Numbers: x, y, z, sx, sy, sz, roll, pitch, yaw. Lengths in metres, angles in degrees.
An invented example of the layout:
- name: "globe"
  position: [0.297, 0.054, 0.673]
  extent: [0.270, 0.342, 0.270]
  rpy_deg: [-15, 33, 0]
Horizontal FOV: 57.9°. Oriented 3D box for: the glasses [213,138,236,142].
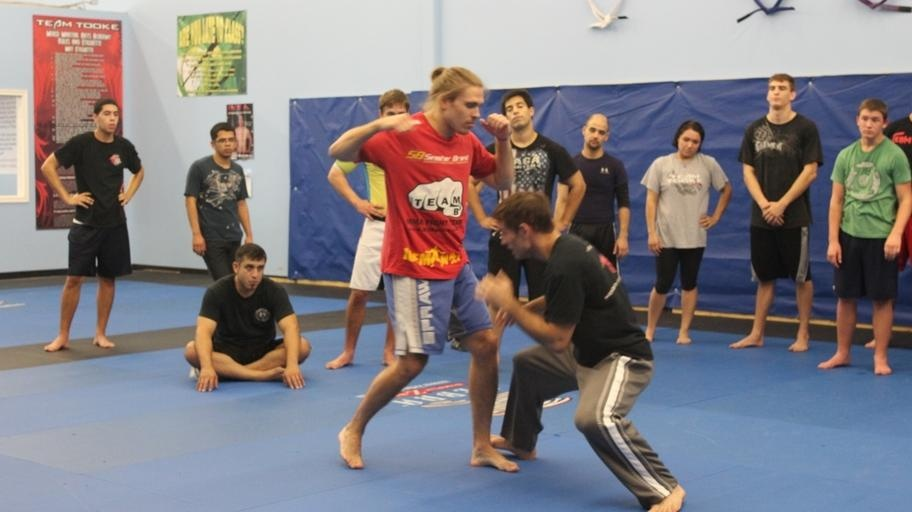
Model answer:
- name: "glasses"
  position: [-2.885, -1.446, 10.251]
  extent: [0.233, 0.100, 0.121]
  rpy_deg: [-3, 11, -19]
